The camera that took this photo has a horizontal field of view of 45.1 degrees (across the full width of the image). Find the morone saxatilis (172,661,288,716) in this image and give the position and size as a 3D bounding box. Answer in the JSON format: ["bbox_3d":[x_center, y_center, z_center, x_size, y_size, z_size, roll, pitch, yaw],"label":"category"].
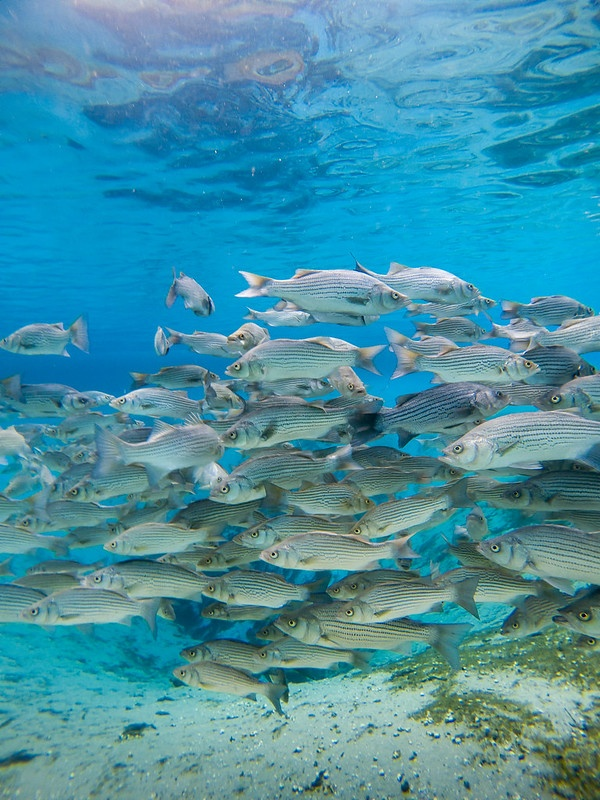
[{"bbox_3d":[-0.764,3.092,7.902,1.174,0.450,0.262,-2,6,6],"label":"morone saxatilis"}]
